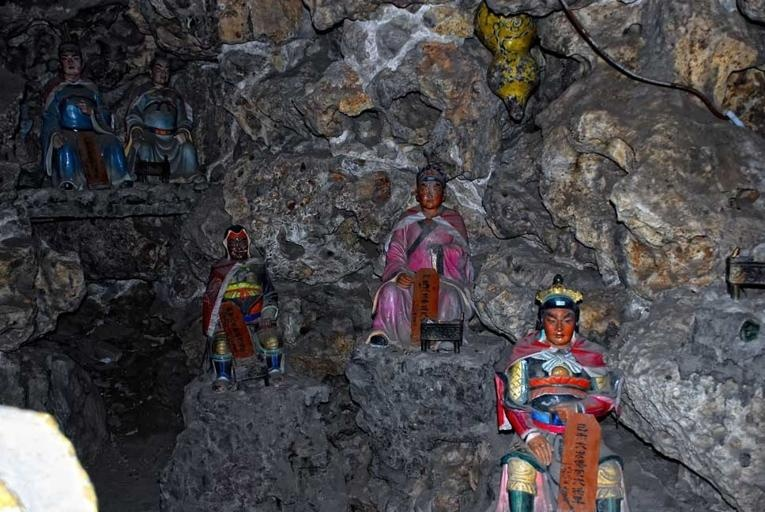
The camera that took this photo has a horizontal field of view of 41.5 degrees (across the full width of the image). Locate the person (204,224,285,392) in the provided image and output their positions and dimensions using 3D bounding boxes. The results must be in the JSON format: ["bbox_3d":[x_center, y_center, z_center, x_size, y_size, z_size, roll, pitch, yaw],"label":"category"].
[{"bbox_3d":[-1.823,0.694,13.405,1.057,2.116,0.677,5,-14,-17],"label":"person"}]

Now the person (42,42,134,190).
[{"bbox_3d":[-4.240,-1.899,14.491,1.156,2.088,0.496,8,-15,-28],"label":"person"}]

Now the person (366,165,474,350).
[{"bbox_3d":[0.512,-0.061,12.921,1.290,2.458,0.542,0,-13,3],"label":"person"}]

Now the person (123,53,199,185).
[{"bbox_3d":[-3.241,-2.040,15.078,0.990,1.872,0.981,1,2,-18],"label":"person"}]
